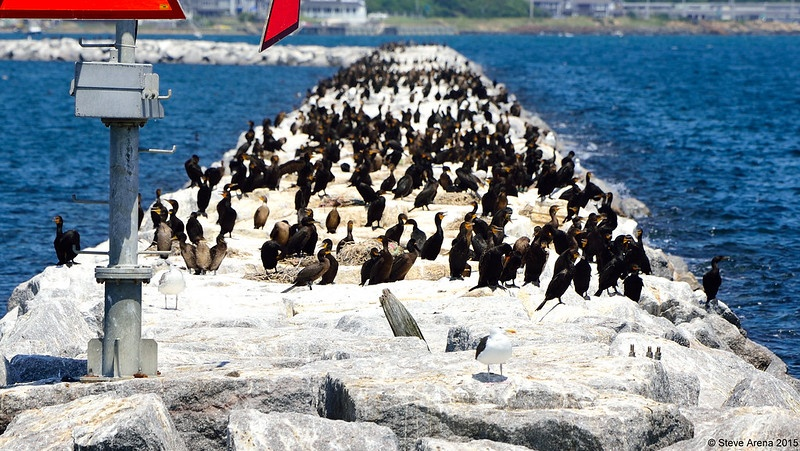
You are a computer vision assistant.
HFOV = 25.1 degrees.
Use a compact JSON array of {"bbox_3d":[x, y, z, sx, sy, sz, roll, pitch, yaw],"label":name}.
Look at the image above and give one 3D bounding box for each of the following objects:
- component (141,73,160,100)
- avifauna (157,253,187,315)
[{"bbox_3d":[-10.957,-5.979,78.045,1.270,1.156,0.433,-1,1,-37],"label":"component"},{"bbox_3d":[-10.726,2.852,83.928,1.232,1.906,1.553,1,17,-8],"label":"avifauna"}]
